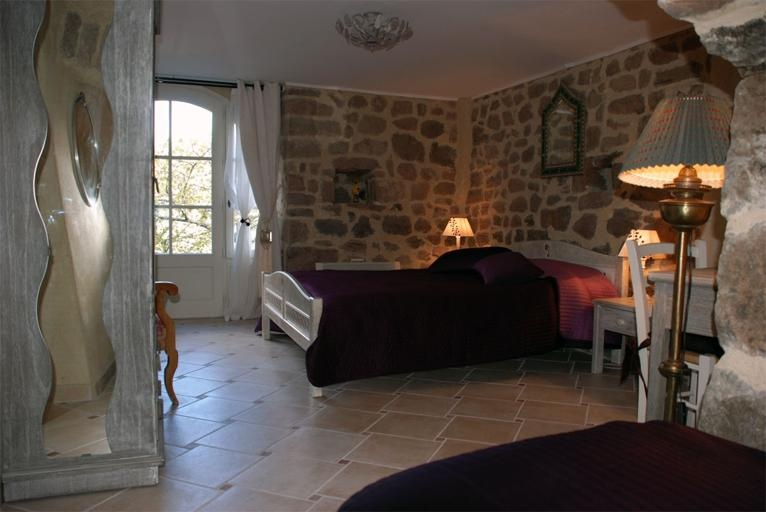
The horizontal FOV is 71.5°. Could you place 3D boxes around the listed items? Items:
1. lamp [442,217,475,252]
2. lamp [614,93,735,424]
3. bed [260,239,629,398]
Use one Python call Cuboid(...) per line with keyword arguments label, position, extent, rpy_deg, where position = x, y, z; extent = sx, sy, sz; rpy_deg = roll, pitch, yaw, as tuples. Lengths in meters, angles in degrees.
Cuboid(label="lamp", position=(0.872, -0.283, 6.672), extent=(0.427, 0.445, 0.410), rpy_deg=(-5, 10, -19))
Cuboid(label="lamp", position=(1.255, -0.042, 2.389), extent=(0.424, 1.362, 0.756), rpy_deg=(5, 11, 29))
Cuboid(label="bed", position=(0.450, 0.390, 4.982), extent=(2.906, 0.952, 2.039), rpy_deg=(-3, 8, -19))
